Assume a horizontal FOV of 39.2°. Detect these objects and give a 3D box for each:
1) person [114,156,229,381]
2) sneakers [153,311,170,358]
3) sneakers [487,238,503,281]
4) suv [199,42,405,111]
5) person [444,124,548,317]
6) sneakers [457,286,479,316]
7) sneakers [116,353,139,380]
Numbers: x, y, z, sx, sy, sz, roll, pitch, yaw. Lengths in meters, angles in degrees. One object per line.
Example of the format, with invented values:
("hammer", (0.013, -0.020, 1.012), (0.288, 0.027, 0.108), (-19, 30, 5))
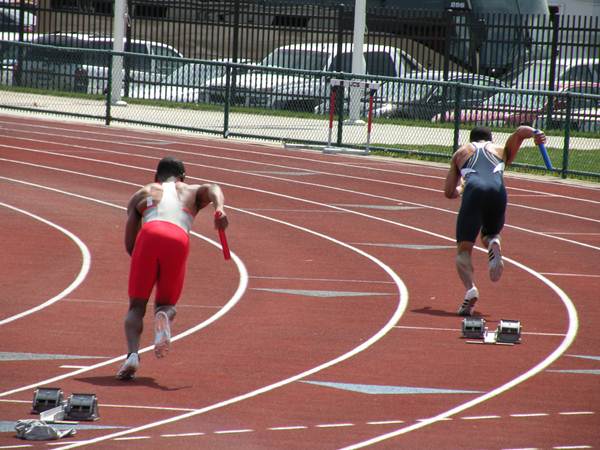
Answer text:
("person", (-1.049, 0.364, 7.068), (0.802, 1.731, 1.033), (1, 12, -6))
("sneakers", (-1.069, 0.857, 6.648), (0.124, 0.356, 0.167), (2, -12, -13))
("sneakers", (2.019, 0.359, 8.785), (0.153, 0.461, 0.209), (-4, 4, 4))
("suv", (0.470, -4.674, 23.910), (6.100, 2.272, 2.825), (-1, 4, -4))
("person", (1.920, -0.095, 9.061), (0.868, 1.881, 1.144), (11, 15, 37))
("sneakers", (1.742, 0.801, 8.731), (0.126, 0.341, 0.155), (11, 42, -13))
("sneakers", (-1.342, 1.132, 6.724), (0.101, 0.287, 0.123), (19, -32, -8))
